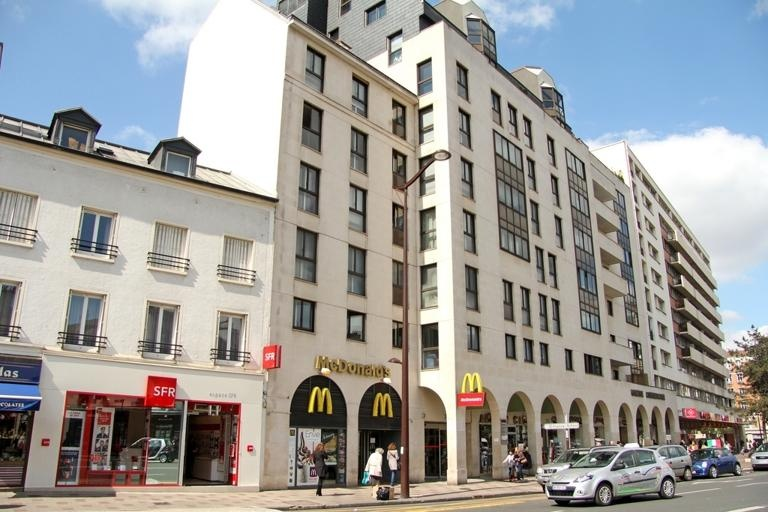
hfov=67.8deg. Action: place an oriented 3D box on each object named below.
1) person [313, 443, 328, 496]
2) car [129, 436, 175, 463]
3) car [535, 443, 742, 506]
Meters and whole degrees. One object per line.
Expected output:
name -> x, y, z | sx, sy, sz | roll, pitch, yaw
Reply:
person -> -3.172, 10.336, 27.735 | 0.515, 2.395, 1.404 | 2, -23, -8
car -> -10.862, 9.064, 26.872 | 1.725, 0.852, 1.053 | 8, -15, -10
car -> 9.563, 9.113, 23.820 | 5.515, 2.292, 1.312 | 8, -24, -21
